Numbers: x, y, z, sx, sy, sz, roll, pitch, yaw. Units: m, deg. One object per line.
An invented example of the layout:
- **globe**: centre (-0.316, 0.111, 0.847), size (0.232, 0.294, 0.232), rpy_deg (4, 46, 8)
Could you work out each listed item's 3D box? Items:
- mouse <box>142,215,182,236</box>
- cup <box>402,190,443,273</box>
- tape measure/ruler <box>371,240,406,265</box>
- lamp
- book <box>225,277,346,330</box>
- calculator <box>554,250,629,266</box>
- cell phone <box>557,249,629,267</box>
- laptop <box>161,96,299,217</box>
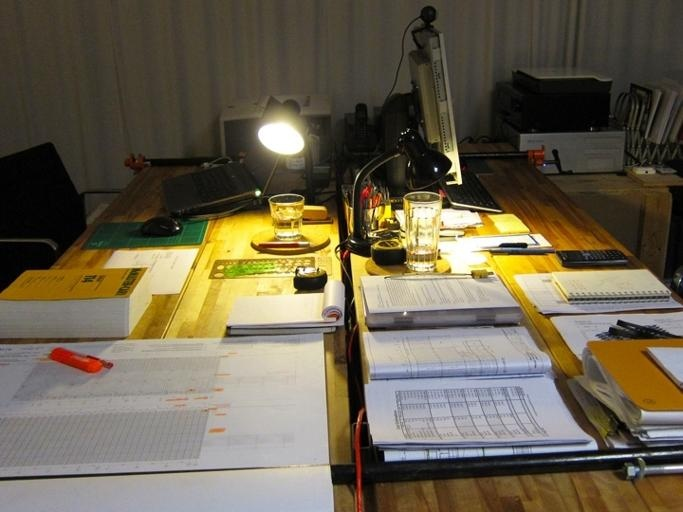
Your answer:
- **mouse**: centre (-0.624, -0.105, 1.778), size (0.122, 0.067, 0.038), rpy_deg (0, -61, 6)
- **cup**: centre (0.229, -0.074, 1.456), size (0.171, 0.205, 0.198), rpy_deg (-1, -70, -2)
- **tape measure/ruler**: centre (0.141, -0.018, 1.533), size (0.071, 0.087, 0.030), rpy_deg (0, -69, 3)
- **lamp**: centre (-0.200, -0.349, 1.819), size (0.232, 0.326, 0.384), rpy_deg (1, -68, -6)
- **book**: centre (-0.139, 0.126, 1.300), size (0.296, 0.216, 0.034), rpy_deg (-1, -69, 0)
- **calculator**: centre (0.746, 0.002, 1.507), size (0.140, 0.076, 0.017), rpy_deg (0, -68, 3)
- **cell phone**: centre (0.747, 0.003, 1.506), size (0.141, 0.077, 0.018), rpy_deg (0, -67, 3)
- **laptop**: centre (-0.491, -0.384, 2.056), size (0.600, 0.391, 0.335), rpy_deg (-8, -61, -15)
